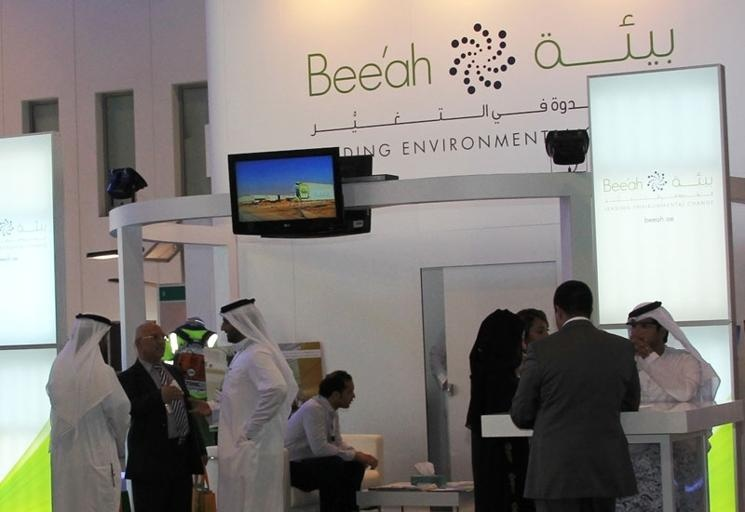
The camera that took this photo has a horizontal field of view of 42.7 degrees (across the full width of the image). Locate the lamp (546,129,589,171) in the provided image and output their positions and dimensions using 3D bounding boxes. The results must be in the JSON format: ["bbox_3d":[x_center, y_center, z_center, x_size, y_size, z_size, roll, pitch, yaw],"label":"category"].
[{"bbox_3d":[1.936,-1.023,9.527,0.345,0.388,0.383,-1,-15,5],"label":"lamp"}]

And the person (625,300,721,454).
[{"bbox_3d":[2.416,0.976,7.973,0.753,1.300,0.846,-9,5,-39],"label":"person"}]

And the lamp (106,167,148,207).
[{"bbox_3d":[-2.621,-0.764,10.187,0.401,0.332,0.424,-2,-1,14],"label":"lamp"}]

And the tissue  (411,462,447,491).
[{"bbox_3d":[0.522,2.131,9.090,0.254,0.179,0.274,1,-4,-1],"label":"tissue "}]
